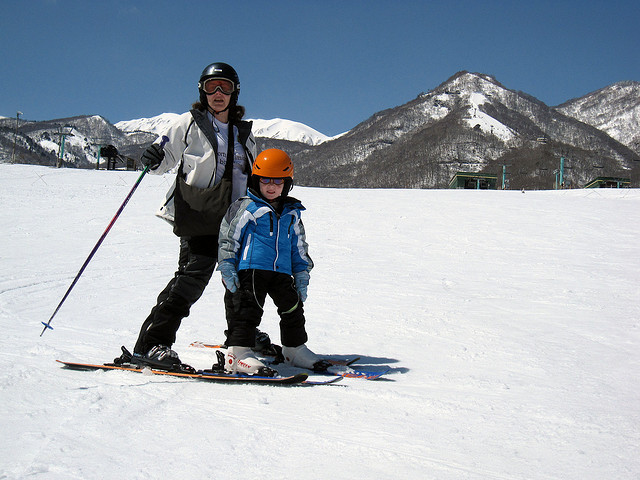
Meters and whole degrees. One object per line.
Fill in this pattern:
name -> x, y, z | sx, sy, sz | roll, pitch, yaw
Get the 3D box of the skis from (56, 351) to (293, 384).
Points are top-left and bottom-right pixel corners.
skis -> -1.160, 0.996, 4.440 | 1.629, 0.086, 0.172 | 3, -2, 11

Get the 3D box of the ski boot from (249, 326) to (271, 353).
ski boot -> -0.569, 0.928, 5.452 | 0.177, 0.251, 0.193 | -8, -3, 41
